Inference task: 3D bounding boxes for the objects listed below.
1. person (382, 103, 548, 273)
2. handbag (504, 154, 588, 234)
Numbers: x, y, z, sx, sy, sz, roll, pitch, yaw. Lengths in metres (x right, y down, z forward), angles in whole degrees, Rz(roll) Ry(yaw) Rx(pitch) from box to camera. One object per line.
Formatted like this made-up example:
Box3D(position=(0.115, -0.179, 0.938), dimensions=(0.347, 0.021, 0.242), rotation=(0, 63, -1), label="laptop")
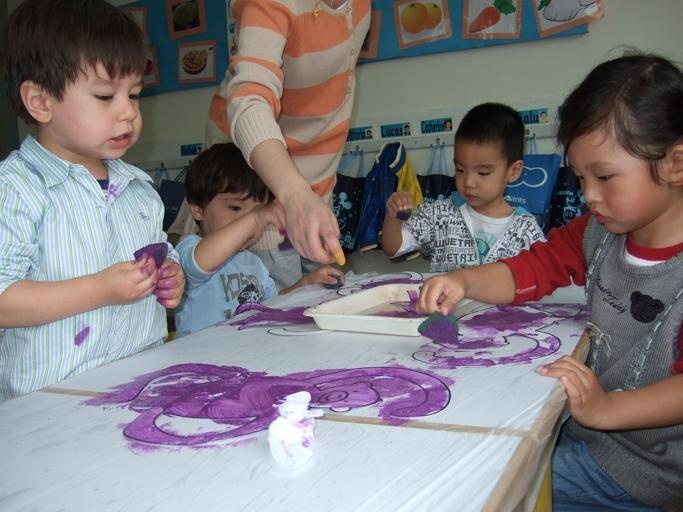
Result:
Box3D(position=(0.514, -0.283, 2.056), dimensions=(0.571, 0.943, 0.367), rotation=(17, 25, 33), label="person")
Box3D(position=(0.779, -0.237, 1.960), dimensions=(0.324, 0.206, 0.359), rotation=(1, 60, 8), label="handbag")
